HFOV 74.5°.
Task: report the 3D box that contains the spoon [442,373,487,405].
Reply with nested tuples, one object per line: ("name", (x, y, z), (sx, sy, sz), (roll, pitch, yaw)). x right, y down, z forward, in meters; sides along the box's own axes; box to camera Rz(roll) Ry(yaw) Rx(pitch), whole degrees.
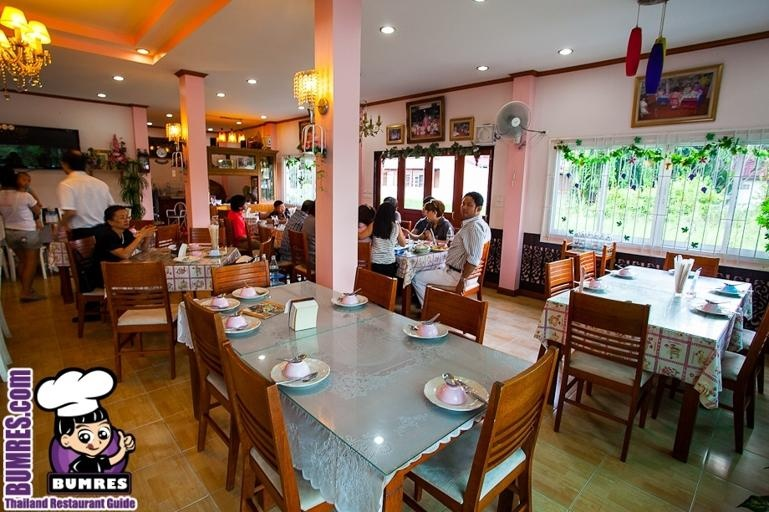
("spoon", (0.552, 0.907, 3.457), (0.115, 0.061, 0.421), (-14, 26, -30))

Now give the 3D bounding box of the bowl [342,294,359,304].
("bowl", (-0.292, 0.370, 4.362), (0.089, 0.061, 0.089), (0, 5, 0))

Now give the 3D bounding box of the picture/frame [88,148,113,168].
("picture/frame", (-5.037, -1.720, 8.904), (0.088, 0.371, 0.362), (-6, 4, 33))

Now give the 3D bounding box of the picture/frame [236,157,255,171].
("picture/frame", (-3.062, -2.065, 11.228), (0.259, 0.343, 0.492), (0, 5, 34))

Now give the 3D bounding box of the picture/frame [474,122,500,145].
("picture/frame", (1.501, -1.782, 7.305), (0.186, 0.378, 0.378), (-12, 16, -42))

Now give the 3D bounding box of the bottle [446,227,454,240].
("bottle", (0.908, -0.302, 6.960), (0.112, 0.154, 0.148), (-3, -22, 6))

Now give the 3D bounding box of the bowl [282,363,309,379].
("bowl", (-0.618, 0.781, 3.529), (0.120, 0.074, 0.119), (1, 7, 0))

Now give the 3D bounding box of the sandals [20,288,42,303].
("sandals", (-4.419, 0.494, 6.409), (0.102, 0.200, 0.291), (11, 12, 35))

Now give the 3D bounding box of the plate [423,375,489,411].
("plate", (0.492, 0.935, 3.420), (0.268, 0.046, 0.268), (-2, 23, -10))

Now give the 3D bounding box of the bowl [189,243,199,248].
("bowl", (-2.071, -0.109, 5.463), (0.114, 0.042, 0.105), (-1, 3, 0))

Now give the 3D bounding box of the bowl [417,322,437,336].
("bowl", (0.336, 0.559, 3.922), (0.122, 0.085, 0.099), (-2, 4, -1))

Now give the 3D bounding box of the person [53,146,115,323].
("person", (-3.628, -0.199, 6.332), (0.632, 2.206, 0.766), (14, 18, 37))

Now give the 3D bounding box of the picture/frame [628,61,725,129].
("picture/frame", (3.388, -1.845, 5.752), (0.899, 0.671, 0.066), (14, 25, 40))

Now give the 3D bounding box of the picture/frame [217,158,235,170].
("picture/frame", (-3.433, -2.000, 10.971), (0.215, 0.169, 0.226), (1, 4, 19))

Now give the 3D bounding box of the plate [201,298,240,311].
("plate", (-1.335, 0.409, 4.187), (0.168, 0.023, 0.168), (-1, 15, -30))

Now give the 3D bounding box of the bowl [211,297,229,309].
("bowl", (-1.357, 0.375, 4.174), (0.096, 0.057, 0.096), (0, 6, 0))

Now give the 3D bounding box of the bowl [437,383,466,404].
("bowl", (0.446, 0.903, 3.414), (0.139, 0.077, 0.141), (-1, 8, 0))

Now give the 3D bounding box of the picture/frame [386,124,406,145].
("picture/frame", (0.207, -2.049, 8.470), (0.363, 0.335, 0.039), (9, 12, 42))

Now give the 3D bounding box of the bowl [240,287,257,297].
("bowl", (-1.186, 0.307, 4.410), (0.098, 0.058, 0.099), (1, 6, 0))

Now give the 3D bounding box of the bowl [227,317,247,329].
("bowl", (-1.146, 0.506, 3.941), (0.101, 0.059, 0.100), (0, 6, 0))

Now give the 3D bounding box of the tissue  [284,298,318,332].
("tissue ", (-0.668, 0.442, 4.064), (0.275, 0.304, 0.219), (-9, 27, -32))

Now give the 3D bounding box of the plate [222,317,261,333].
("plate", (-1.117, 0.533, 3.979), (0.285, 0.087, 0.197), (-7, 13, -33))
